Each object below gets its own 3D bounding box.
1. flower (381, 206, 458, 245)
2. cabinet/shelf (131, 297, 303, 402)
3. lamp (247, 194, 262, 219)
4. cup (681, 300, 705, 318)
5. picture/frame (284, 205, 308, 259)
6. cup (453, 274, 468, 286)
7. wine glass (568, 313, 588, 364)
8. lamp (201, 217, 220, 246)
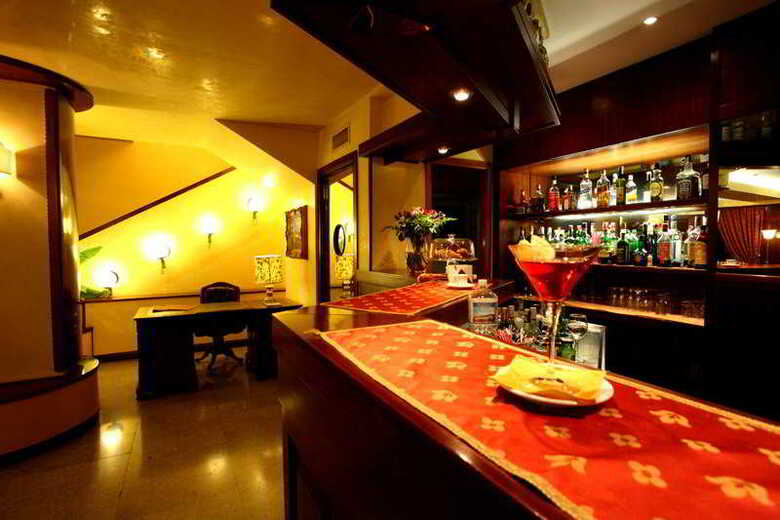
[{"bbox_3d":[0.332,-0.372,5.657,0.536,0.315,0.547,1,4,14],"label":"flower"},{"bbox_3d":[-2.313,1.074,6.567,1.609,1.196,0.564,-4,1,-27],"label":"cabinet/shelf"},{"bbox_3d":[-2.161,-0.831,8.390,0.231,0.388,0.071,-4,1,-42],"label":"lamp"},{"bbox_3d":[2.889,0.433,4.991,0.202,0.174,0.142,5,7,32],"label":"cup"},{"bbox_3d":[-1.357,-0.403,7.650,0.116,0.779,0.805,0,-2,-23],"label":"picture/frame"},{"bbox_3d":[0.613,0.176,4.495,0.104,0.074,0.084,-1,1,10],"label":"cup"},{"bbox_3d":[1.354,0.570,3.785,0.121,0.275,0.474,-3,1,19],"label":"wine glass"},{"bbox_3d":[-2.766,-0.433,8.074,0.261,0.470,0.074,-4,1,-19],"label":"lamp"}]
